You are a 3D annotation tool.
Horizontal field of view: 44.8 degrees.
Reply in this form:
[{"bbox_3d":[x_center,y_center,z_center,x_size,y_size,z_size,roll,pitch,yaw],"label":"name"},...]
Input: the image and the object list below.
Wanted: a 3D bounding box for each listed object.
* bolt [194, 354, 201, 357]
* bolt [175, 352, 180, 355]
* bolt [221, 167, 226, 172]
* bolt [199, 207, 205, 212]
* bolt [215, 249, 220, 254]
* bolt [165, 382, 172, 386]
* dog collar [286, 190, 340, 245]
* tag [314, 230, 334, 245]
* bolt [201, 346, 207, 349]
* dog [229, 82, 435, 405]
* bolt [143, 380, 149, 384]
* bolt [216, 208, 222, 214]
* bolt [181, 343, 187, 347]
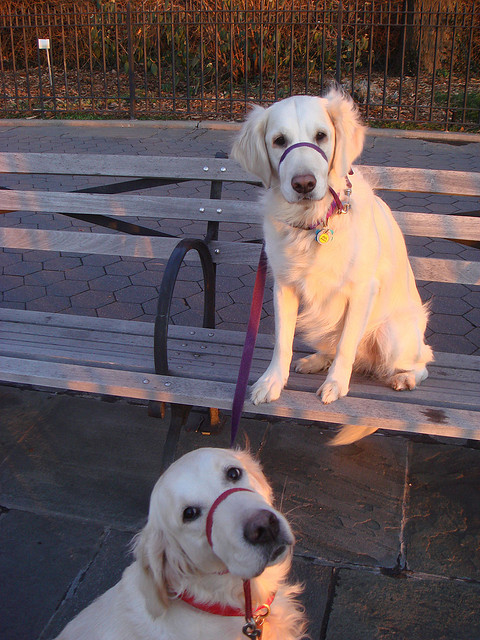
[{"bbox_3d":[-0.172,0.145,2.377,0.026,0.004,0.026,4,29,-1],"label":"bolt"},{"bbox_3d":[-0.256,0.137,2.386,0.018,0.003,0.019,0,29,-7],"label":"bolt"},{"bbox_3d":[-0.079,-0.725,2.794,0.025,0.021,0.013,2,5,6],"label":"bolt"},{"bbox_3d":[-0.183,-0.538,2.831,0.027,0.023,0.006,-3,2,19],"label":"bolt"},{"bbox_3d":[-0.109,-0.339,2.866,0.018,0.012,0.017,1,29,-5],"label":"bolt"},{"bbox_3d":[-0.254,0.226,2.059,0.020,0.002,0.022,1,29,-6],"label":"bolt"},{"bbox_3d":[0.290,-0.338,2.035,0.196,0.119,0.123,11,28,33],"label":"dog collar"},{"bbox_3d":[0.298,-0.292,2.042,0.059,0.050,0.049,4,31,-1],"label":"tag"},{"bbox_3d":[-0.153,0.115,2.458,0.020,0.003,0.019,4,29,0],"label":"bolt"},{"bbox_3d":[0.336,-0.249,2.356,0.948,1.239,0.782,0,32,3],"label":"dog"},{"bbox_3d":[-0.334,0.220,2.074,0.020,0.002,0.026,0,29,-8],"label":"bolt"},{"bbox_3d":[-0.098,-0.527,2.807,0.031,0.026,0.007,0,0,8],"label":"bolt"},{"bbox_3d":[-0.236,0.103,2.476,0.024,0.004,0.028,1,29,-6],"label":"bolt"}]
